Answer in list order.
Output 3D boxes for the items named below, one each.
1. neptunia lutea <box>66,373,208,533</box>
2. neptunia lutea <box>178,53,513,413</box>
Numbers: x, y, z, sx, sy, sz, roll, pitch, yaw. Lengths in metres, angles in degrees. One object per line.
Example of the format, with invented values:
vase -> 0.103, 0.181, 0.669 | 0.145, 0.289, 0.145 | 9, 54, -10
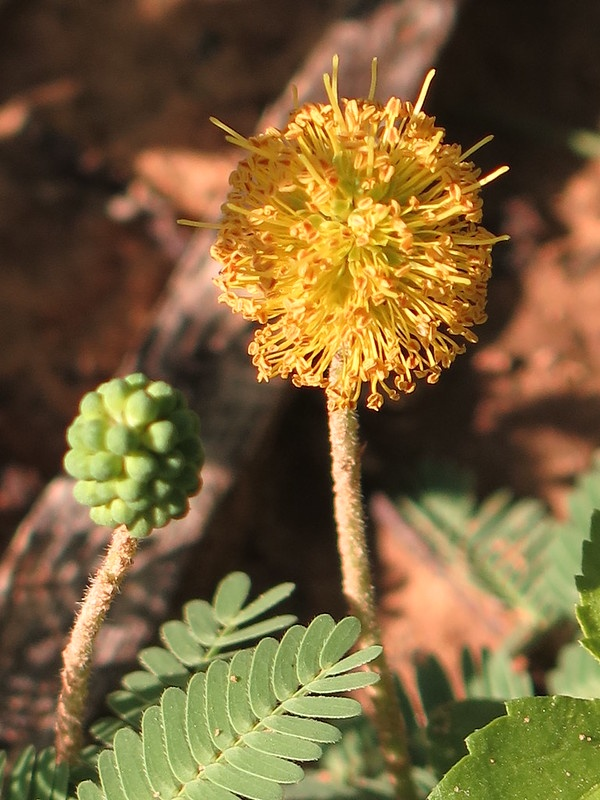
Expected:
neptunia lutea -> -0.342, 0.110, 1.968 | 0.267, 0.339, 0.205 | 3, 11, -13
neptunia lutea -> 0.181, -0.515, 2.262 | 0.590, 0.476, 0.541 | 18, 8, 16
